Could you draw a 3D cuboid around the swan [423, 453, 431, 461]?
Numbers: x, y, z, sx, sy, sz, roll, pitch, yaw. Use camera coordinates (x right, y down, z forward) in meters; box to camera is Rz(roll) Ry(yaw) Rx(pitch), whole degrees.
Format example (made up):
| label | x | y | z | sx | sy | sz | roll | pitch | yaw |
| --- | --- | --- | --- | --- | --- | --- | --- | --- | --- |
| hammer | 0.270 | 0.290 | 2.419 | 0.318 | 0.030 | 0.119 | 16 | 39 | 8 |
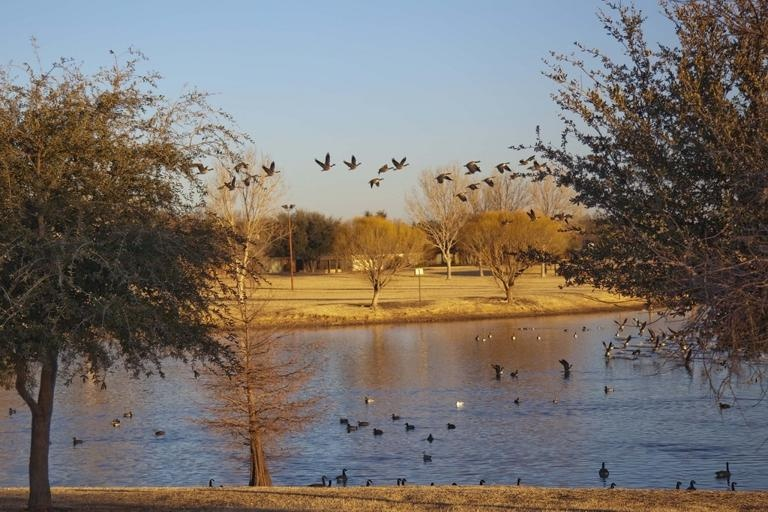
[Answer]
| label | x | y | z | sx | sy | sz | roll | pitch | yaw |
| --- | --- | --- | --- | --- | --- | --- | --- | --- | --- |
| swan | 1.833 | 8.672 | 60.541 | 0.354 | 0.332 | 0.452 | -3 | -9 | 1 |
